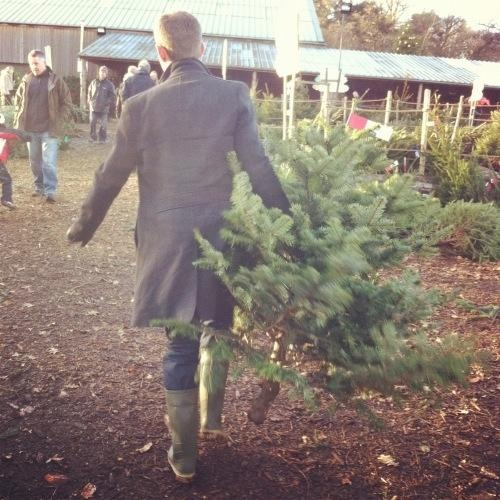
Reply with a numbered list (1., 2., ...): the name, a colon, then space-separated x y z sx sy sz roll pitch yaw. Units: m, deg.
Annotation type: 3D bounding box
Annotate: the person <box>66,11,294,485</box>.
1. person: -0.278 -0.003 1.951 0.791 1.839 0.553 11 15 29
